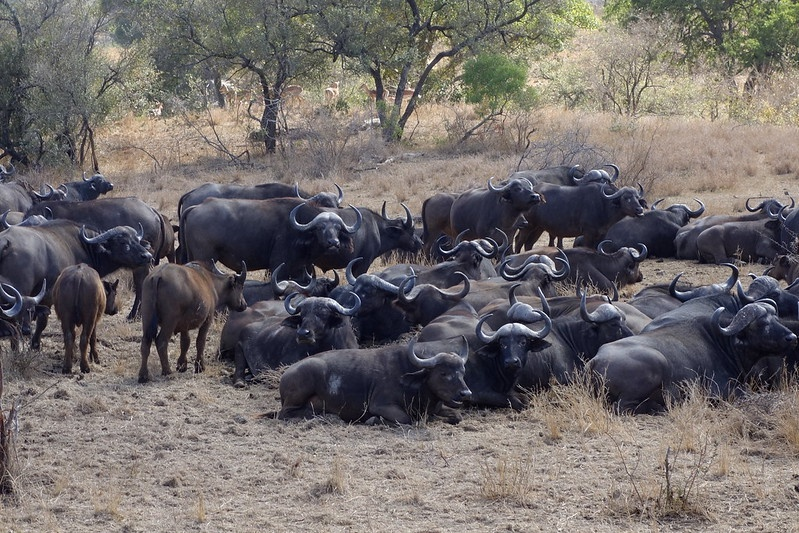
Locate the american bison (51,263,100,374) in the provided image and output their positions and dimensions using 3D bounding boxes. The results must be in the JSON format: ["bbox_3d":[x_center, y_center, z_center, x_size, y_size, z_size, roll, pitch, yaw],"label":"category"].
[{"bbox_3d":[-5.687,0.932,19.618,0.878,1.944,0.744,0,1,-31],"label":"american bison"}]

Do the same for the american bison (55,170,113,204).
[{"bbox_3d":[-7.821,-1.874,27.683,1.528,0.888,0.720,-10,16,-7],"label":"american bison"}]
